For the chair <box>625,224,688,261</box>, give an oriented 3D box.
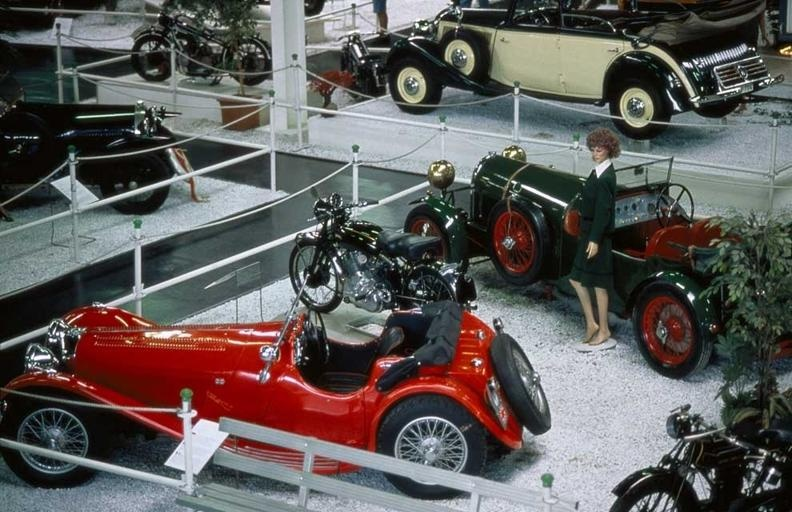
[{"bbox_3d":[2.447,-0.114,6.368,0.368,0.348,0.374,-2,12,-33],"label":"chair"}]
